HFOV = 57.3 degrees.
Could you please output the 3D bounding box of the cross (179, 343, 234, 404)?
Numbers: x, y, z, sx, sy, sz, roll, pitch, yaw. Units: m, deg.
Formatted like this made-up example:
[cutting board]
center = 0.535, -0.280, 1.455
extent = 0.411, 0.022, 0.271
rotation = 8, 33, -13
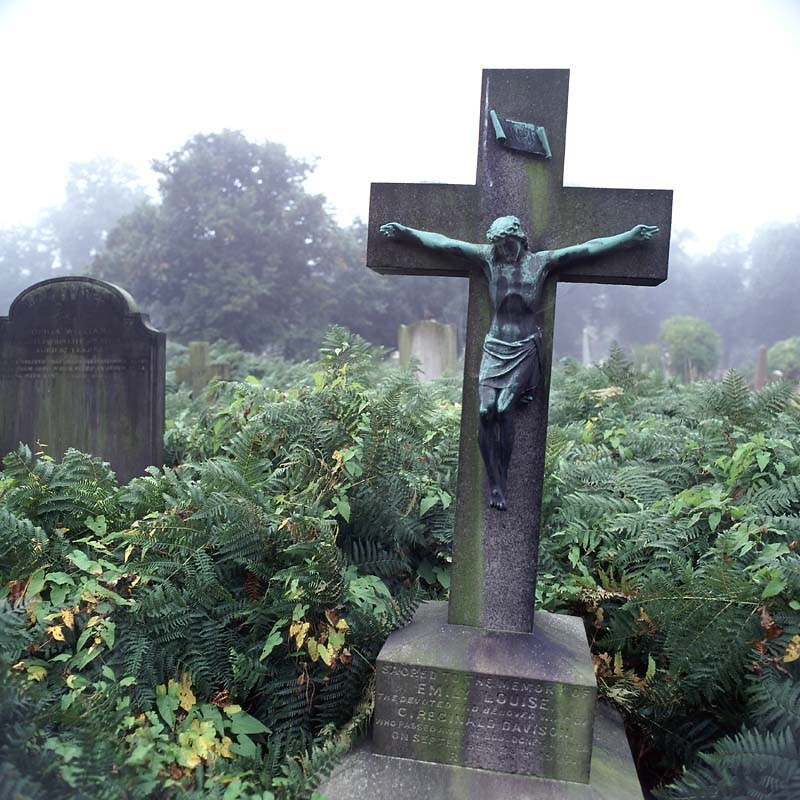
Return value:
[cross]
center = -2.870, -0.346, 11.336
extent = 0.175, 1.142, 0.729
rotation = 12, -3, 5
